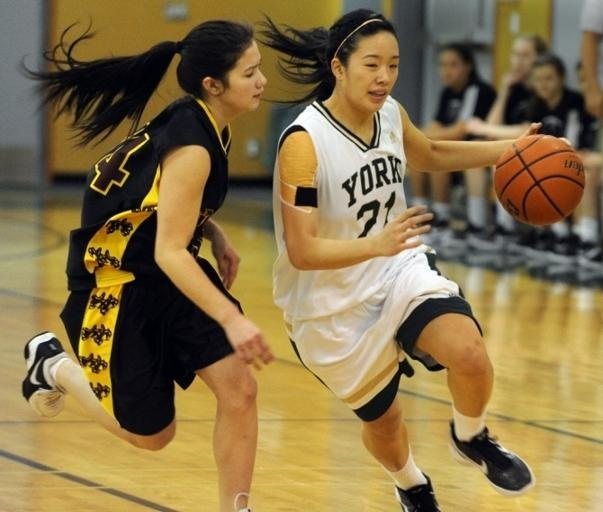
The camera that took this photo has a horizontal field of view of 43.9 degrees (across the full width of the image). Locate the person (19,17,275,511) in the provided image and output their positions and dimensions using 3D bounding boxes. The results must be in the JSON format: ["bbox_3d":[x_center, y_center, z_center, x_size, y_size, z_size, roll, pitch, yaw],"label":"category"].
[{"bbox_3d":[-0.429,0.038,2.197,1.030,1.444,0.443,16,18,41],"label":"person"}]

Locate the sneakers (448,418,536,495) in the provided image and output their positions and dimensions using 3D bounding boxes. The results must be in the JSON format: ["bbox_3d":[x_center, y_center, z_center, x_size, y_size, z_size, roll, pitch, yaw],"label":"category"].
[{"bbox_3d":[0.544,0.575,2.246,0.113,0.130,0.309,-37,33,-15],"label":"sneakers"}]

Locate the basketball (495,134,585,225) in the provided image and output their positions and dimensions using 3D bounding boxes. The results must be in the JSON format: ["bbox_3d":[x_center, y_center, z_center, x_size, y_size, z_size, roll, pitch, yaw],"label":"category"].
[{"bbox_3d":[0.739,-0.225,2.448,0.276,0.272,0.281,6,-7,-32],"label":"basketball"}]
